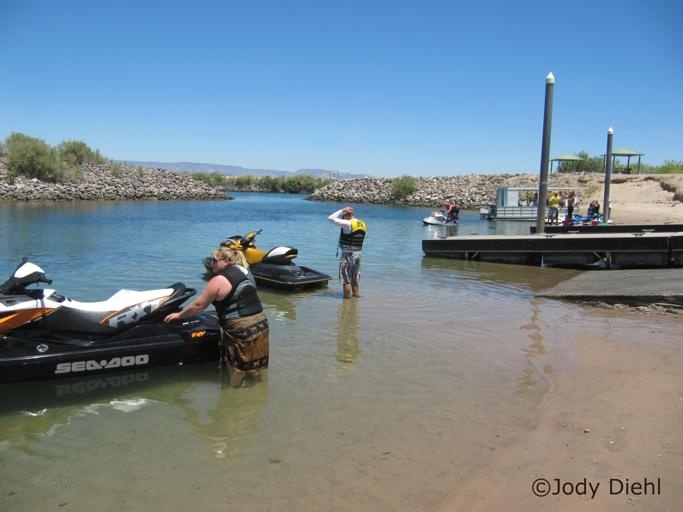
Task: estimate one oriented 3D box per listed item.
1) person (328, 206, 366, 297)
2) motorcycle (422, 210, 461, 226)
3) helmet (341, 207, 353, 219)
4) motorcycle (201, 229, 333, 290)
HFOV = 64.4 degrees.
[{"bbox_3d":[0.168,-0.082,14.012,0.828,2.365,1.418,1,12,2],"label":"person"},{"bbox_3d":[7.855,-2.913,42.546,2.611,0.669,1.563,1,1,1],"label":"motorcycle"},{"bbox_3d":[0.120,-1.042,13.287,0.383,0.243,0.208,7,25,21],"label":"helmet"},{"bbox_3d":[-1.785,0.267,15.148,4.106,1.051,1.581,9,8,39],"label":"motorcycle"}]
